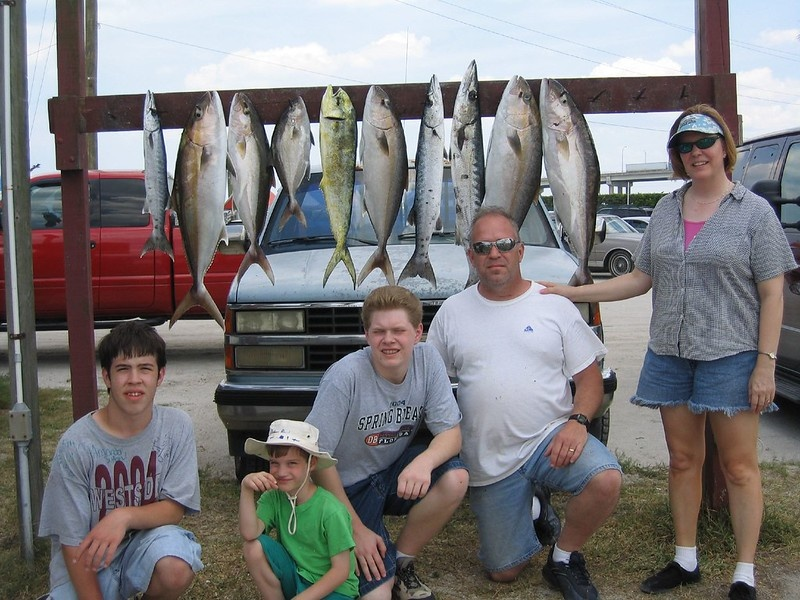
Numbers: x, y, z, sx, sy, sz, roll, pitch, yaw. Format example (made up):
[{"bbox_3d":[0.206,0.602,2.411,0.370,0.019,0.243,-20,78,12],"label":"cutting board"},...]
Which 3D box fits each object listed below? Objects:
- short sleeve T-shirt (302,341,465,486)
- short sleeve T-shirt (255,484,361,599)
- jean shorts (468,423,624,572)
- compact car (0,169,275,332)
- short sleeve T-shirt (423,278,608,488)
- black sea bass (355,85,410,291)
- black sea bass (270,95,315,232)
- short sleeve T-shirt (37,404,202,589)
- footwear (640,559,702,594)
[{"bbox_3d":[-0.055,0.585,3.834,0.555,0.509,0.297,-6,26,-27],"label":"short sleeve T-shirt"},{"bbox_3d":[-0.438,1.117,3.542,0.447,0.482,0.266,-8,0,21],"label":"short sleeve T-shirt"},{"bbox_3d":[0.616,1.010,3.997,0.253,0.690,0.908,30,31,26],"label":"jean shorts"},{"bbox_3d":[-3.149,-0.438,8.507,3.524,1.865,1.842,-1,3,-17],"label":"compact car"},{"bbox_3d":[0.582,0.449,3.974,0.903,1.035,0.511,-1,7,13],"label":"short sleeve T-shirt"},{"bbox_3d":[-0.110,-0.625,4.234,0.294,1.072,0.188,-2,7,-4],"label":"black sea bass"},{"bbox_3d":[-0.579,-0.748,4.146,0.219,0.690,0.304,-3,7,-10],"label":"black sea bass"},{"bbox_3d":[-1.272,0.922,3.517,0.830,0.944,0.467,1,4,-20],"label":"short sleeve T-shirt"},{"bbox_3d":[1.356,1.413,3.975,0.343,0.161,0.129,-5,3,-11],"label":"footwear"}]
